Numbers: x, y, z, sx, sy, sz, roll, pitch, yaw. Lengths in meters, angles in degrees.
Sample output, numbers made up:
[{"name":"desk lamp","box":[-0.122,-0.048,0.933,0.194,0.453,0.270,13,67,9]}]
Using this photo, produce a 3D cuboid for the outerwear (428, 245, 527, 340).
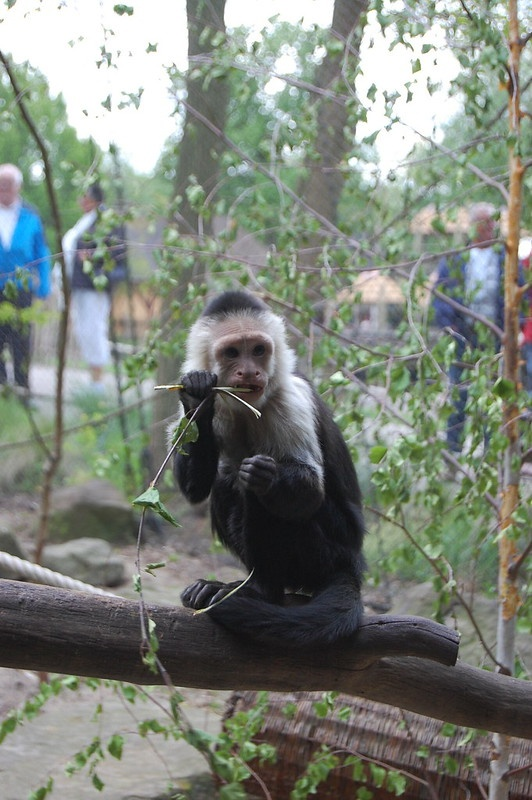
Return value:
[{"name":"outerwear","box":[1.085,-0.602,4.933,0.617,0.528,0.195,2,-4,43]}]
